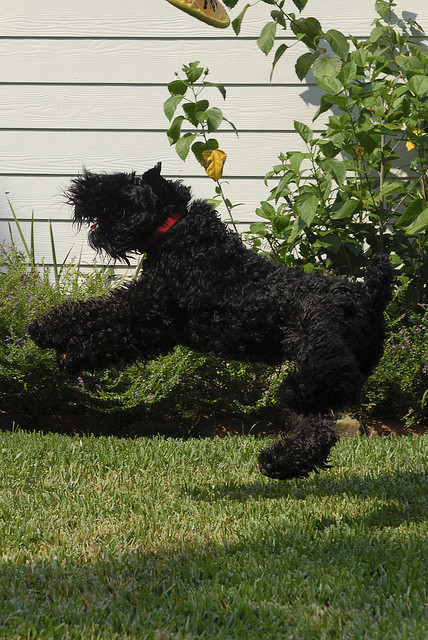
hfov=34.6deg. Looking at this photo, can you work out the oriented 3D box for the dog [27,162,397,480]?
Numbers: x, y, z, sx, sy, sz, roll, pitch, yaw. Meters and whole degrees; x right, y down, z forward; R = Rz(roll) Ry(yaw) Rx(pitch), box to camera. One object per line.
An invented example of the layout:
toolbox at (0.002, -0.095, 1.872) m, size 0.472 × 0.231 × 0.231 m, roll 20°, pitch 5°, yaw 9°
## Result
dog at (0.048, -0.086, 2.489) m, size 1.638 × 0.870 × 0.640 m, roll 29°, pitch 26°, yaw 35°
